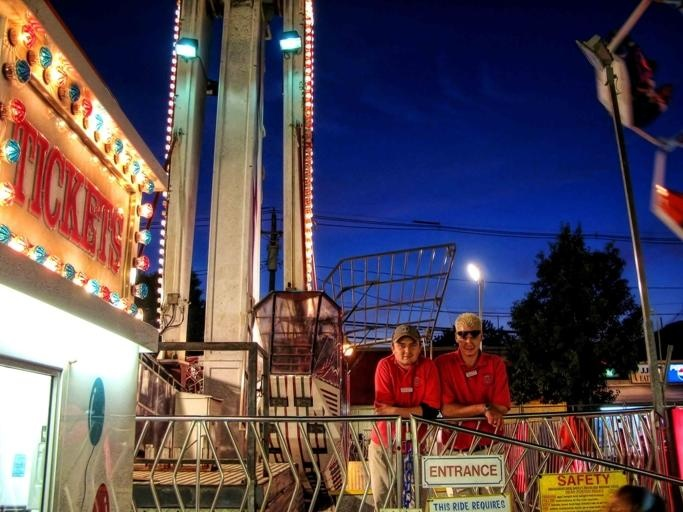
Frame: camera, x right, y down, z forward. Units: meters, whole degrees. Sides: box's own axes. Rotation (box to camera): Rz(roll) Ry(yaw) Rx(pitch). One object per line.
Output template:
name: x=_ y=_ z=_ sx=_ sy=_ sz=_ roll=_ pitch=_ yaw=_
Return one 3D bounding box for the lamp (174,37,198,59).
lamp: x=-3.740 y=-4.991 z=15.560 sx=0.545 sy=0.503 sz=0.373 roll=0 pitch=-22 yaw=-7

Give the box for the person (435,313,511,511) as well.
person: x=1.389 y=1.505 z=6.737 sx=0.767 sy=1.898 sz=0.855 roll=-5 pitch=-22 yaw=5

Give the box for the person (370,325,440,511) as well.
person: x=0.639 y=1.562 z=6.547 sx=0.779 sy=1.835 sz=0.776 roll=-3 pitch=-21 yaw=2
